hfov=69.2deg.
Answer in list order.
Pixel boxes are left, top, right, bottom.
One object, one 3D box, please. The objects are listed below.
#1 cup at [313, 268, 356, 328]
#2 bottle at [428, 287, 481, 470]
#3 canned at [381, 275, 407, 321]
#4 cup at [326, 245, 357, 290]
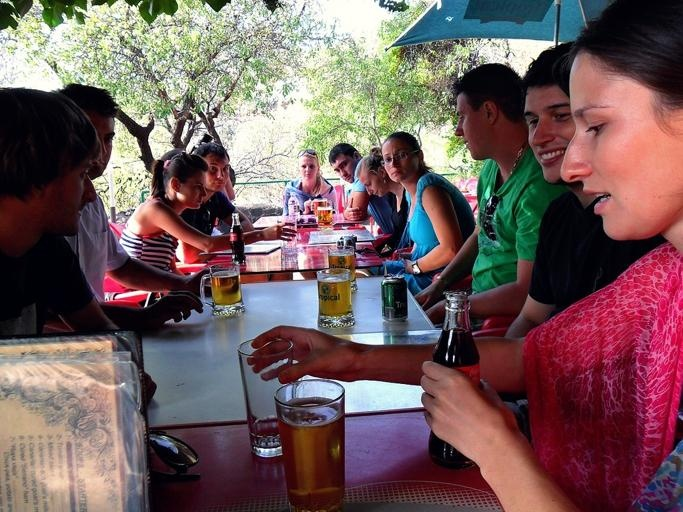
[{"bbox_3d":[-0.028,0.165,1.917,0.145,0.200,0.139,-3,8,0],"label":"cup"},{"bbox_3d":[0.238,0.256,1.081,0.118,0.349,0.195,-4,6,13],"label":"bottle"},{"bbox_3d":[0.208,0.176,1.939,0.104,0.163,0.101,-2,8,-8],"label":"canned"},{"bbox_3d":[0.000,0.055,2.357,0.118,0.184,0.115,-2,10,0],"label":"cup"}]
